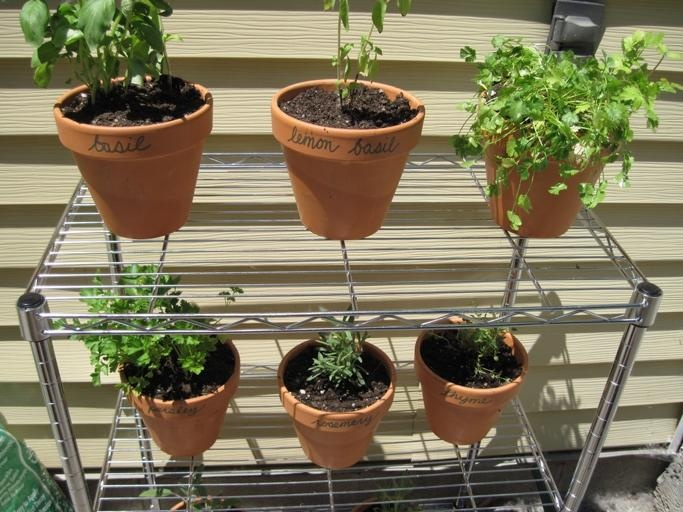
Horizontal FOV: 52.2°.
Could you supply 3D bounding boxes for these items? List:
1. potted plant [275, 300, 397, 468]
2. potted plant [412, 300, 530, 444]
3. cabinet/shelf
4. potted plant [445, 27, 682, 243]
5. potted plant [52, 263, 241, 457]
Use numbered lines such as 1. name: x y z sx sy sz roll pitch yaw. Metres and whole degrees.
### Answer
1. potted plant: -0.011 0.367 1.991 0.455 0.292 0.415 -2 33 -4
2. potted plant: 0.266 0.327 1.973 0.413 0.297 0.353 1 32 0
3. cabinet/shelf: -0.060 0.184 1.945 1.233 1.010 0.658 -1 42 -5
4. potted plant: 0.535 -0.305 1.680 0.529 0.475 0.444 -23 41 -34
5. potted plant: -0.522 0.255 1.847 0.554 0.465 0.383 -10 39 -20
